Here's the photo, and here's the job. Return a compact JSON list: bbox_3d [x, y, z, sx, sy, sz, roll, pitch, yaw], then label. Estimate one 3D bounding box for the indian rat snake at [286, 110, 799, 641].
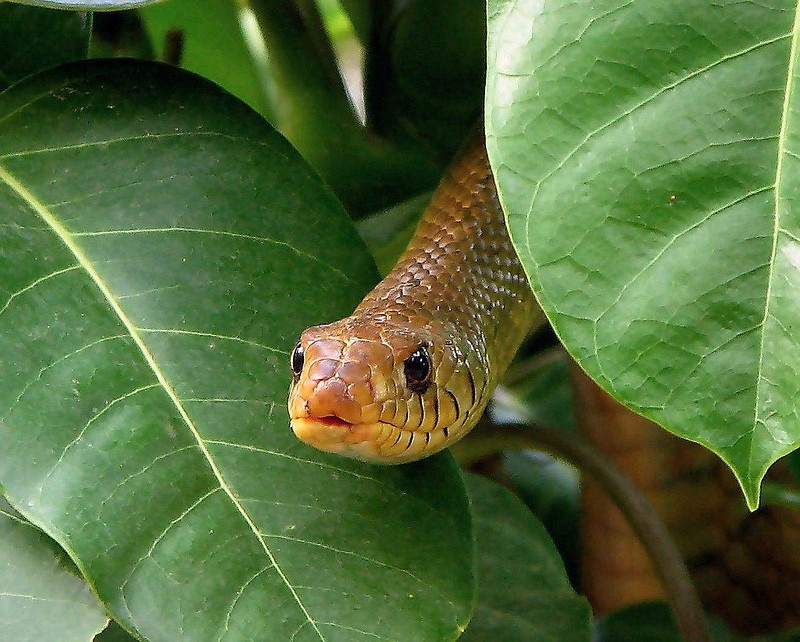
[{"bbox_3d":[0.154,0.022,1.599,0.674,0.188,0.715,23,89,54],"label":"indian rat snake"}]
